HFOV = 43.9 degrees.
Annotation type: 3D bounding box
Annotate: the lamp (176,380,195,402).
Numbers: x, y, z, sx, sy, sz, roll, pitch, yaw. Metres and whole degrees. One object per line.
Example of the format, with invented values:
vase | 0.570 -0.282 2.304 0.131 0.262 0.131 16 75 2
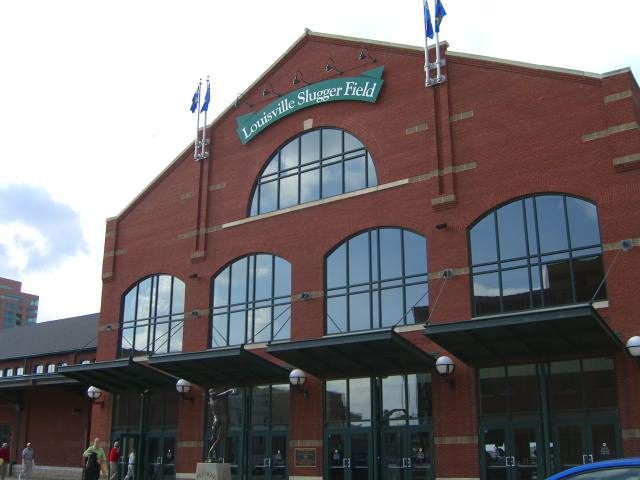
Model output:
lamp | -5.802 6.394 34.236 0.737 0.823 1.308 0 -22 -3
